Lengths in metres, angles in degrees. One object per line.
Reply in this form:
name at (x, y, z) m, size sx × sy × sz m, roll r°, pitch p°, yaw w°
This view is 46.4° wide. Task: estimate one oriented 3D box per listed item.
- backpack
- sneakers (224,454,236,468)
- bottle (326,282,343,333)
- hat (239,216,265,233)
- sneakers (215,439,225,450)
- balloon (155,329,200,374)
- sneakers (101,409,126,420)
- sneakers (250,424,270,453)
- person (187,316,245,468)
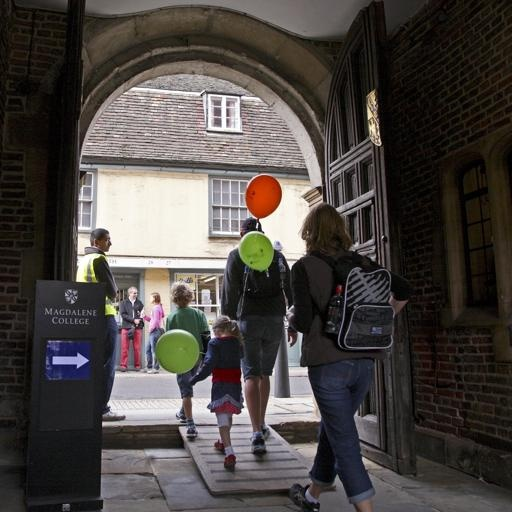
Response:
backpack at (0.574, 0.249, 3.356) m, size 0.450 × 0.556 × 0.235 m, roll 1°, pitch -2°, yaw -20°
sneakers at (-0.197, 1.543, 4.526) m, size 0.066 × 0.077 × 0.169 m, roll 0°, pitch -14°, yaw -3°
bottle at (0.432, 0.288, 3.264) m, size 0.079 × 0.279 × 0.100 m, roll 2°, pitch -2°, yaw -37°
hat at (-0.062, -0.274, 5.262) m, size 0.118 × 0.180 × 0.162 m, roll -5°, pitch 1°, yaw 4°
sneakers at (-0.302, 1.554, 4.986) m, size 0.059 × 0.090 × 0.185 m, roll 3°, pitch -8°, yaw -9°
balloon at (-0.610, 0.738, 4.626) m, size 0.325 × 0.329 × 0.218 m, roll 1°, pitch -2°, yaw -7°
sneakers at (-1.372, 1.559, 5.901) m, size 0.272 × 0.134 × 0.098 m, roll 3°, pitch -4°, yaw -6°
sneakers at (0.032, 1.527, 5.008) m, size 0.151 × 0.206 × 0.424 m, roll 0°, pitch -7°, yaw -2°
person at (-0.305, 1.046, 4.807) m, size 0.399 × 1.124 × 0.599 m, roll 1°, pitch -2°, yaw -2°
